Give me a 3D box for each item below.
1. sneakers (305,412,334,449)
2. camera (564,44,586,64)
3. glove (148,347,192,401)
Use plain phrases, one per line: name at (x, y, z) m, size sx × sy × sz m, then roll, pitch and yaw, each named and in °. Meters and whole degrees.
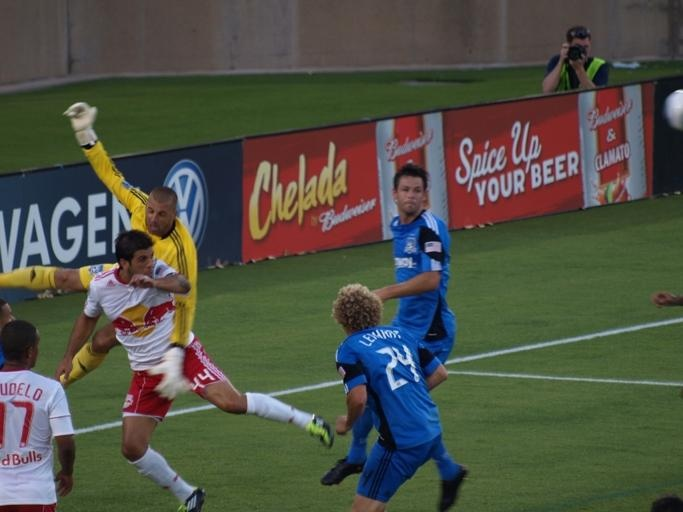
sneakers at (-0.204, 2.050, 17.126) m, size 0.515 × 0.188 × 0.228 m, roll 41°, pitch -35°, yaw -24°
camera at (3.846, -3.309, 23.881) m, size 0.279 × 0.265 × 0.196 m, roll 0°, pitch 3°, yaw 2°
glove at (-1.912, 1.350, 16.643) m, size 0.430 × 0.590 × 0.212 m, roll 19°, pitch 7°, yaw 28°
